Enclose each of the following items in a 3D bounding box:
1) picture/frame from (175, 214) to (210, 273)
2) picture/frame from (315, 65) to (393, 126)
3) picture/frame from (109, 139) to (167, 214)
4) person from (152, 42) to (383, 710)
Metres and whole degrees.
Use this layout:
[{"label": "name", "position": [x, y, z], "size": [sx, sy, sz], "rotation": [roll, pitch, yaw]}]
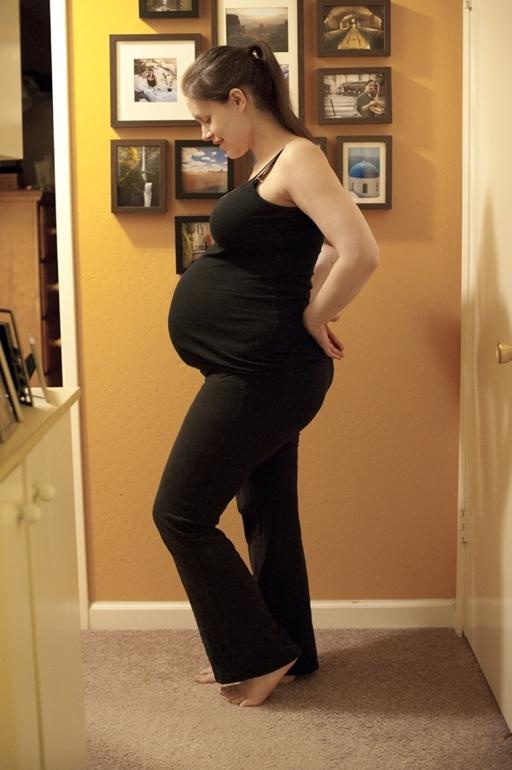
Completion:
[{"label": "picture/frame", "position": [-0.163, -0.390, 1.921], "size": [0.117, 0.147, 0.010], "rotation": [-3, -1, 14]}, {"label": "picture/frame", "position": [0.264, -0.770, 1.856], "size": [0.167, 0.117, 0.011], "rotation": [0, 7, 1]}, {"label": "picture/frame", "position": [-0.320, -0.574, 1.901], "size": [0.208, 0.258, 0.020], "rotation": [0, 3, -3]}, {"label": "person", "position": [0.023, 0.023, 1.570], "size": [0.488, 1.485, 0.354], "rotation": [0, 8, 9]}]
